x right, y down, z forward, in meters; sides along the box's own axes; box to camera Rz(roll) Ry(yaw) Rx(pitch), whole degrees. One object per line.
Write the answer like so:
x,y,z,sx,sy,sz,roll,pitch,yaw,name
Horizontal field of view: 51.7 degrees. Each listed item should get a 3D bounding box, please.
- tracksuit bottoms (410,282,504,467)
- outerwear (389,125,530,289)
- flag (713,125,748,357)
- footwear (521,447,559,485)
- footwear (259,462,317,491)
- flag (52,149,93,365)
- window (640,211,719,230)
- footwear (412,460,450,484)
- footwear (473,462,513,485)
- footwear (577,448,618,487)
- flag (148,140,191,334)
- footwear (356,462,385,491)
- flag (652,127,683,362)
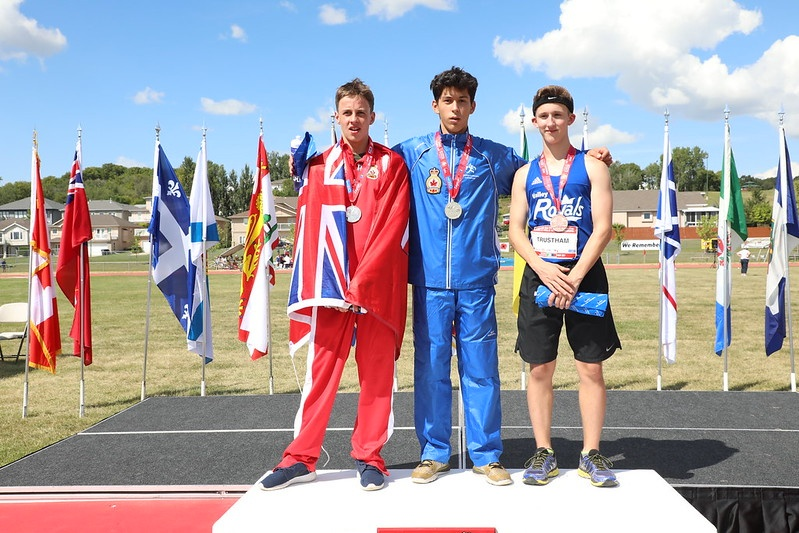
0.583,1.056,8.593,0.986,2.085,0.552,3,-15,-3,tracksuit bottoms
0.558,-0.571,8.487,1.668,1.589,0.662,0,-1,-2,outerwear
4.618,-0.321,11.449,0.363,3.319,0.849,2,6,21,flag
1.411,1.993,8.217,0.351,0.305,0.264,1,6,10,footwear
-1.111,2.091,8.225,0.588,0.237,0.200,0,-5,-21,footwear
-4.326,-0.117,11.063,0.467,2.857,0.483,-1,6,-4,flag
18.556,-3.065,54.345,3.467,0.862,3.722,-3,7,-3,window
0.302,2.061,8.287,0.150,0.165,0.380,-4,-7,35,footwear
0.953,2.069,8.243,0.151,0.148,0.353,-1,0,-36,footwear
1.968,2.008,8.177,0.392,0.298,0.232,2,6,17,footwear
-3.152,-0.391,11.353,0.563,2.628,0.391,-2,6,-16,flag
-0.284,2.084,8.218,0.300,0.227,0.266,0,6,5,footwear
3.725,-0.285,11.504,0.308,3.354,0.469,1,6,18,flag
